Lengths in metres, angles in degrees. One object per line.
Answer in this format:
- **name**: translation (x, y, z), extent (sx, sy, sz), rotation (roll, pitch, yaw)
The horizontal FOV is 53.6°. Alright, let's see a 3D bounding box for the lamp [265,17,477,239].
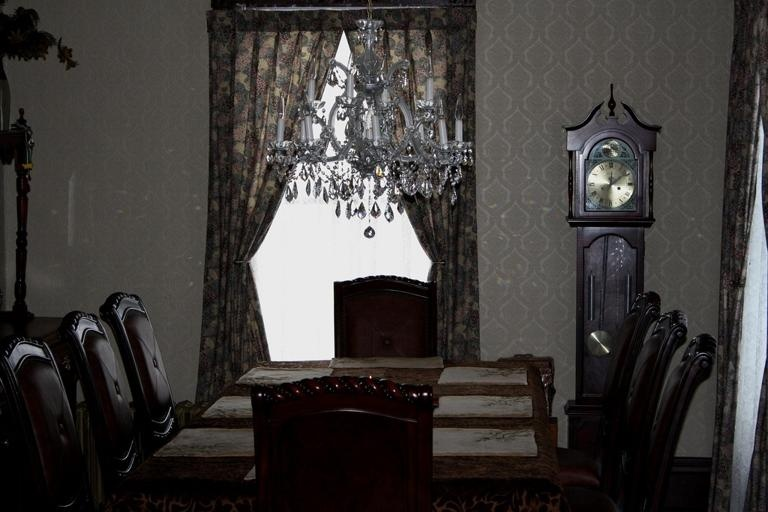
- **lamp**: translation (0.005, -0.913, 5.100), extent (1.417, 1.150, 1.910), rotation (1, 0, -4)
